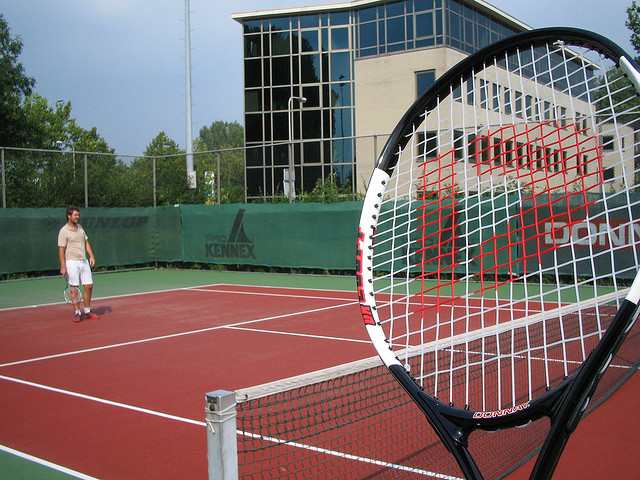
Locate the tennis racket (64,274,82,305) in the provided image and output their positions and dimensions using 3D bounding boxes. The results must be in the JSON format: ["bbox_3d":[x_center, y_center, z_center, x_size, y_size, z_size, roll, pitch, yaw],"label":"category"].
[{"bbox_3d":[-3.654,0.814,9.579,0.193,0.323,0.286,-3,4,-27],"label":"tennis racket"}]
